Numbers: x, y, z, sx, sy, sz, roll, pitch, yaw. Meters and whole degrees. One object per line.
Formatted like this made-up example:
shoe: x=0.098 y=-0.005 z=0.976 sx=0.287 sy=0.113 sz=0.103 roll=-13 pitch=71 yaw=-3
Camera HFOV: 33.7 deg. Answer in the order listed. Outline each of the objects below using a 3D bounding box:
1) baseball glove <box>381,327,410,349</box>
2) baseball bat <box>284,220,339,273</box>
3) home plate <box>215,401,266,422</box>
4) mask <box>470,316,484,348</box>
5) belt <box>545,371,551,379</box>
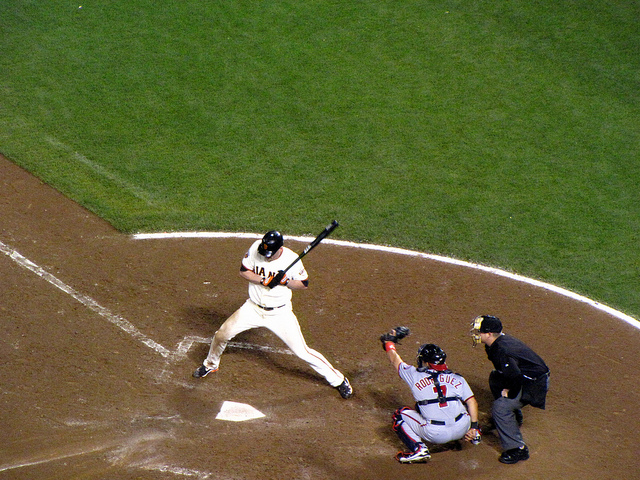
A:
baseball glove: x=1.261 y=1.675 z=17.822 sx=0.435 sy=0.320 sz=0.134 roll=-18 pitch=69 yaw=34
baseball bat: x=-0.262 y=0.235 z=17.979 sx=1.421 sy=0.143 sz=0.136 roll=-43 pitch=71 yaw=5
home plate: x=-1.394 y=2.934 z=17.832 sx=0.651 sy=0.320 sz=0.078 roll=4 pitch=122 yaw=2
mask: x=2.628 y=1.601 z=17.845 sx=0.337 sy=0.440 sz=0.545 roll=3 pitch=98 yaw=1
belt: x=3.847 y=2.316 z=17.904 sx=0.109 sy=0.035 sz=0.116 roll=7 pitch=103 yaw=-7
